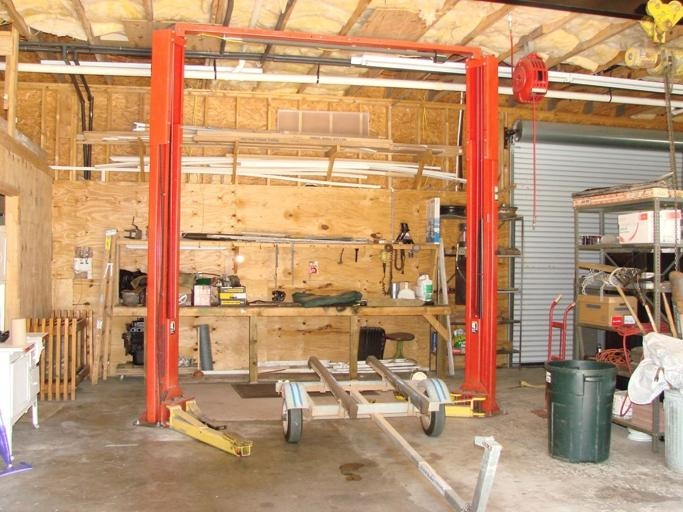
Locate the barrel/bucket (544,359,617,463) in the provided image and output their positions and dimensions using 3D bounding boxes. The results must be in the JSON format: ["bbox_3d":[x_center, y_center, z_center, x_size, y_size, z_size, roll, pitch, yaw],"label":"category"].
[{"bbox_3d":[2.418,1.607,6.074,0.669,0.971,0.254,3,7,14],"label":"barrel/bucket"}]

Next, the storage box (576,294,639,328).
[{"bbox_3d":[3.454,0.693,7.694,0.661,0.254,0.551,1,-1,-22],"label":"storage box"}]

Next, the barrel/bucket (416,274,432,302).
[{"bbox_3d":[1.347,0.514,9.624,0.231,0.400,0.358,1,6,-1],"label":"barrel/bucket"}]

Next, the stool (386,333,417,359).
[{"bbox_3d":[0.979,1.480,9.906,0.643,0.343,0.541,2,0,20],"label":"stool"}]
